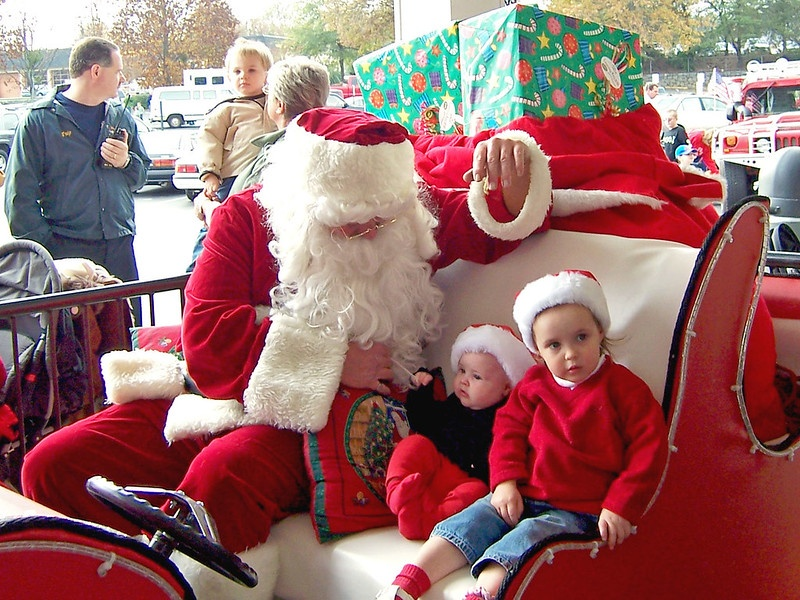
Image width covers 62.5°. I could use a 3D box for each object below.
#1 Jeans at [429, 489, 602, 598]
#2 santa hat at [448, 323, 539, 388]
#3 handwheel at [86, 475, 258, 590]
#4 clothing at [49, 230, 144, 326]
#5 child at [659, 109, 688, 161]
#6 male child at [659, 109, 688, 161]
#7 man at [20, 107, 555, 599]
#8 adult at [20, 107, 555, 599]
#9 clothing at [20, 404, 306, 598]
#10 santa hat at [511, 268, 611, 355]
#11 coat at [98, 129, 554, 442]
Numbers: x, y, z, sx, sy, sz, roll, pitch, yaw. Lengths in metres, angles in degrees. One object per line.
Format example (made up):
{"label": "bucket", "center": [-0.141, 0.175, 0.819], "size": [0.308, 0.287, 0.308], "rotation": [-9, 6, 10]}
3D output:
{"label": "Jeans", "center": [0.280, 0.550, 1.653], "size": [0.274, 0.099, 0.206], "rotation": [-22, 11, -42]}
{"label": "santa hat", "center": [0.278, 0.160, 1.939], "size": [0.207, 0.126, 0.160], "rotation": [23, -19, 14]}
{"label": "handwheel", "center": [-0.533, 0.542, 1.542], "size": [0.406, 0.236, 0.120], "rotation": [1, 9, 13]}
{"label": "clothing", "center": [-1.390, -0.108, 3.025], "size": [0.229, 0.512, 0.343], "rotation": [14, 24, 38]}
{"label": "child", "center": [3.076, -1.861, 7.428], "size": [0.263, 0.587, 0.482], "rotation": [3, 9, 22]}
{"label": "male child", "center": [3.074, -1.860, 7.423], "size": [0.263, 0.587, 0.473], "rotation": [3, 9, 22]}
{"label": "man", "center": [-0.253, 0.076, 2.415], "size": [1.745, 1.600, 1.230], "rotation": [-1, 7, -8]}
{"label": "adult", "center": [-0.287, 0.071, 2.174], "size": [1.509, 1.374, 0.944], "rotation": [-1, 16, -20]}
{"label": "clothing", "center": [-0.718, 0.527, 1.960], "size": [0.483, 0.197, 0.507], "rotation": [27, 8, 34]}
{"label": "santa hat", "center": [0.419, 0.037, 1.797], "size": [0.168, 0.174, 0.220], "rotation": [-5, -10, -10]}
{"label": "coat", "center": [-0.206, -0.043, 2.159], "size": [1.115, 0.800, 0.632], "rotation": [-6, 16, -27]}
